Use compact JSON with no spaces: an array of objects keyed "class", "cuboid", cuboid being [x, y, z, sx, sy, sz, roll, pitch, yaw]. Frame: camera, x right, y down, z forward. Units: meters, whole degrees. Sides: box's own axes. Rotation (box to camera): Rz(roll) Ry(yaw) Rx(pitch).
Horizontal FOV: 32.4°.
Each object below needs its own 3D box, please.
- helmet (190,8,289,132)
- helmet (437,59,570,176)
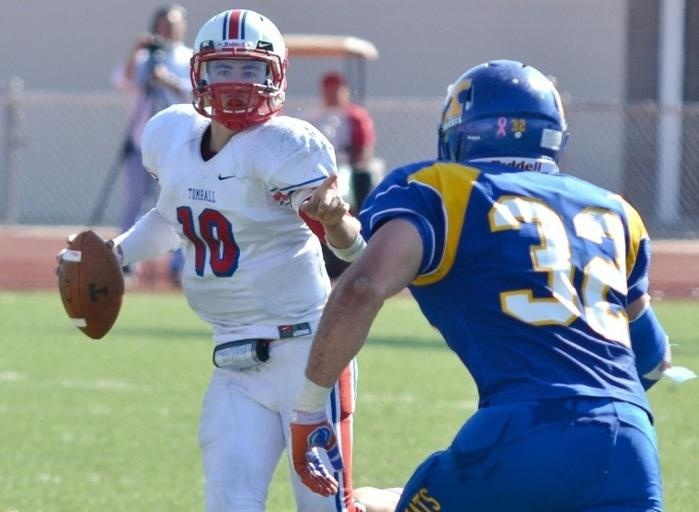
[{"class":"helmet","cuboid":[-0.492,-0.828,5.316,0.446,0.491,0.535,0,4,2]},{"class":"helmet","cuboid":[0.597,-0.598,5.097,0.417,0.432,0.531,9,14,-16]}]
